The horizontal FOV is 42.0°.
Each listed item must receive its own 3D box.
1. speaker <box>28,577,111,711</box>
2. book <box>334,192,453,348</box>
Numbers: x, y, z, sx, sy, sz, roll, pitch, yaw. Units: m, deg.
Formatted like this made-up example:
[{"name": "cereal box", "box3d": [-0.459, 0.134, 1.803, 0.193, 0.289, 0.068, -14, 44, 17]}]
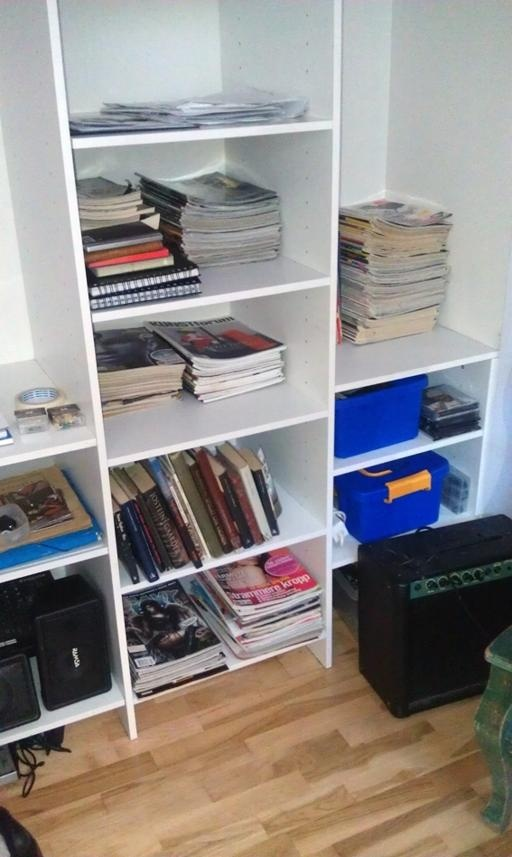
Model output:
[{"name": "speaker", "box3d": [-0.399, 0.437, 1.435, 0.160, 0.265, 0.167, -12, 28, -16]}, {"name": "book", "box3d": [0.302, -0.416, 1.752, 0.316, 0.377, 0.334, -21, 32, -26]}]
